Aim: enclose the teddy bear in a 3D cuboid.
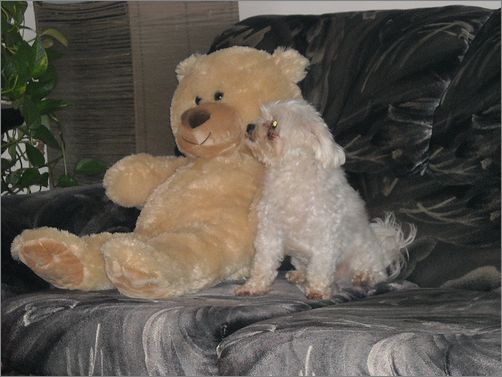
[{"bbox_3d":[-0.252,-0.057,3.209,0.855,0.844,1.122,4,8,42],"label":"teddy bear"}]
